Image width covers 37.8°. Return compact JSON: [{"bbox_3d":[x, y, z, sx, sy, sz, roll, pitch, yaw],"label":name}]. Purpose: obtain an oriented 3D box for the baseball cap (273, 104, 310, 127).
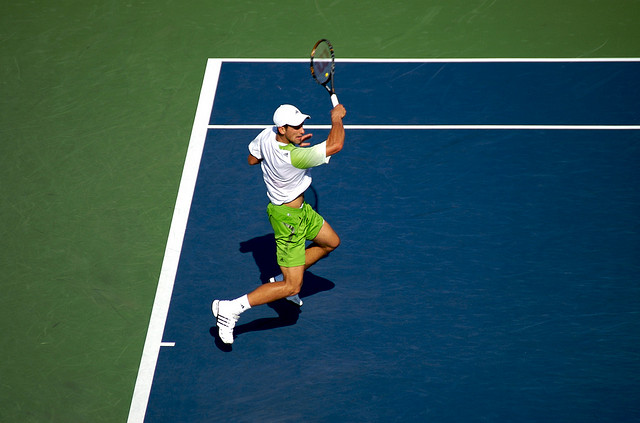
[{"bbox_3d":[-0.421,-1.279,12.651,0.401,0.184,0.274,1,23,18],"label":"baseball cap"}]
